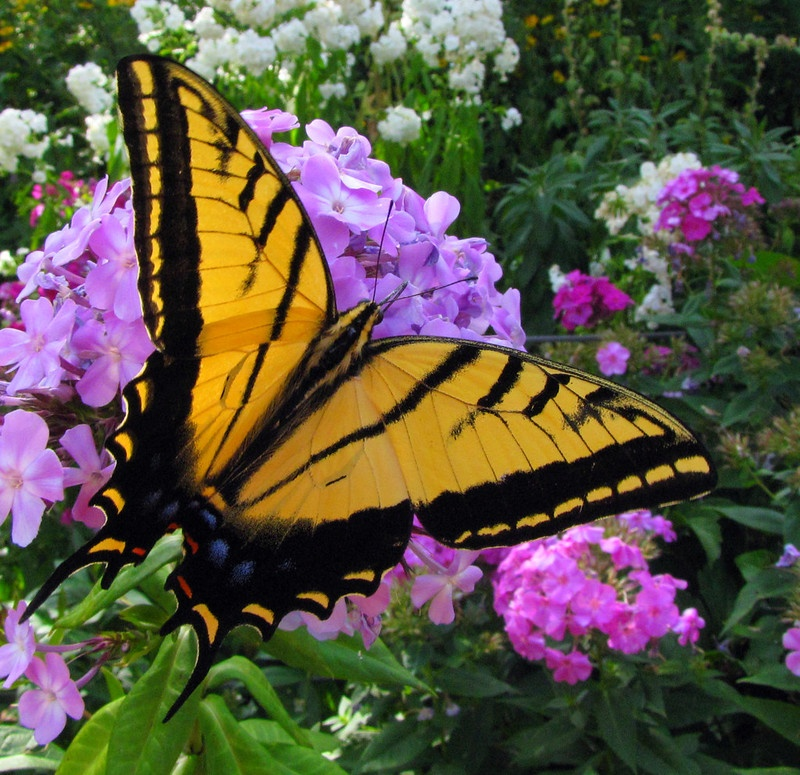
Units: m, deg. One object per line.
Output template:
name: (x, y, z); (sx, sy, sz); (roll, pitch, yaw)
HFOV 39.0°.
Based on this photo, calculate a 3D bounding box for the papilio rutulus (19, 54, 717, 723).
papilio rutulus: (-0.093, 0.030, 2.222); (1.094, 1.133, 0.373); (7, -9, -13)
